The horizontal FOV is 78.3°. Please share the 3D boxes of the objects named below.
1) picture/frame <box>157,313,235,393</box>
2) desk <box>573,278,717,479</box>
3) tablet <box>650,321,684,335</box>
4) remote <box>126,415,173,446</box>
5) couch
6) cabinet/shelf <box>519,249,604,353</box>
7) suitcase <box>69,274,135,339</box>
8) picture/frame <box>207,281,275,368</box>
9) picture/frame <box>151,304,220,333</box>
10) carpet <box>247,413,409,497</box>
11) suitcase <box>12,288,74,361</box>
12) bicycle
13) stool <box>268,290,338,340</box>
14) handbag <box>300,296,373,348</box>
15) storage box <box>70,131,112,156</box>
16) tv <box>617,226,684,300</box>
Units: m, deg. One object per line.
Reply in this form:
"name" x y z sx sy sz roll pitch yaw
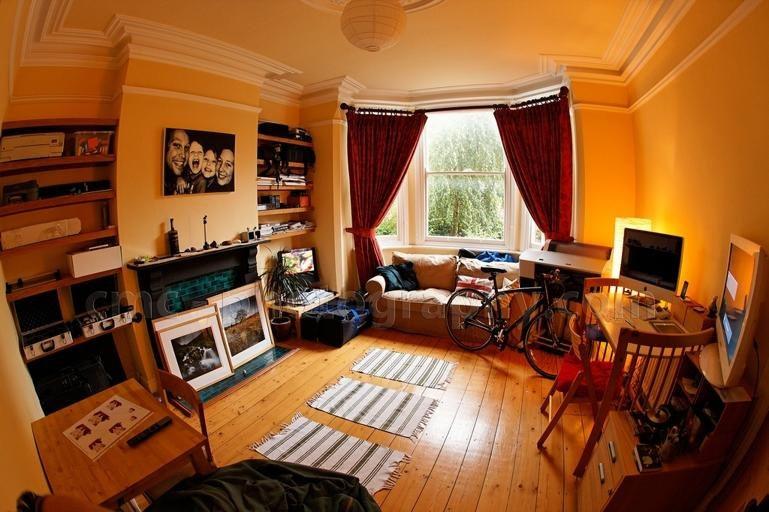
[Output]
"picture/frame" -1.993 1.024 4.945 0.059 0.800 0.648 -16 5 44
"desk" 2.181 1.402 4.220 0.647 1.251 1.626 0 -19 5
"tablet" 2.344 0.587 3.946 0.228 0.049 0.197 1 10 5
"remote" -1.760 1.328 3.647 0.105 0.077 0.392 24 30 31
"couch" 0.892 0.528 6.291 1.934 1.014 0.867 3 8 15
"cabinet/shelf" 2.077 0.272 5.408 0.867 0.885 0.615 10 18 33
"suitcase" -2.772 0.476 4.649 0.252 0.495 0.489 17 24 31
"picture/frame" -1.689 0.812 5.488 0.062 0.996 0.838 -14 2 32
"picture/frame" -2.123 0.654 5.059 0.658 0.177 0.057 -10 13 -43
"carpet" -0.452 1.766 4.262 1.090 0.099 0.540 9 21 31
"suitcase" -3.147 0.641 4.377 0.320 0.537 0.401 10 22 32
"bicycle" 1.441 0.680 5.450 1.697 1.162 0.855 11 1 37
"stool" -1.136 0.660 6.117 0.547 0.289 0.799 2 6 29
"handbag" -0.631 0.837 6.175 0.623 0.439 0.716 6 11 28
"storage box" -2.754 -1.068 4.475 0.367 0.257 0.233 -9 21 -41
"tv" 2.378 0.096 4.377 0.582 0.609 0.208 14 -7 -5
